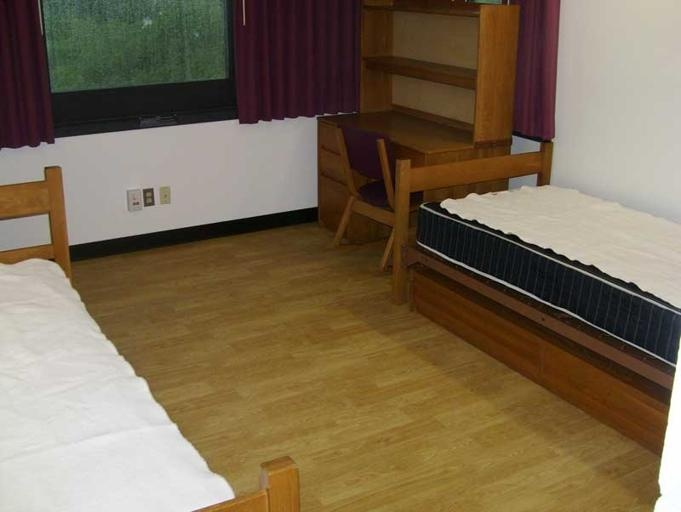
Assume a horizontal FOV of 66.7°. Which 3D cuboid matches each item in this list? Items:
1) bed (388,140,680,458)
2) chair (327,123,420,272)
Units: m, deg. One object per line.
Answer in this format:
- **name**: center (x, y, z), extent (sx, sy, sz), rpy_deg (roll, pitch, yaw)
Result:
- **bed**: center (0.954, 0.099, 2.725), extent (0.952, 0.958, 1.774), rpy_deg (-8, 25, -14)
- **chair**: center (0.208, -0.442, 3.567), extent (0.478, 0.696, 0.537), rpy_deg (8, 18, -44)
